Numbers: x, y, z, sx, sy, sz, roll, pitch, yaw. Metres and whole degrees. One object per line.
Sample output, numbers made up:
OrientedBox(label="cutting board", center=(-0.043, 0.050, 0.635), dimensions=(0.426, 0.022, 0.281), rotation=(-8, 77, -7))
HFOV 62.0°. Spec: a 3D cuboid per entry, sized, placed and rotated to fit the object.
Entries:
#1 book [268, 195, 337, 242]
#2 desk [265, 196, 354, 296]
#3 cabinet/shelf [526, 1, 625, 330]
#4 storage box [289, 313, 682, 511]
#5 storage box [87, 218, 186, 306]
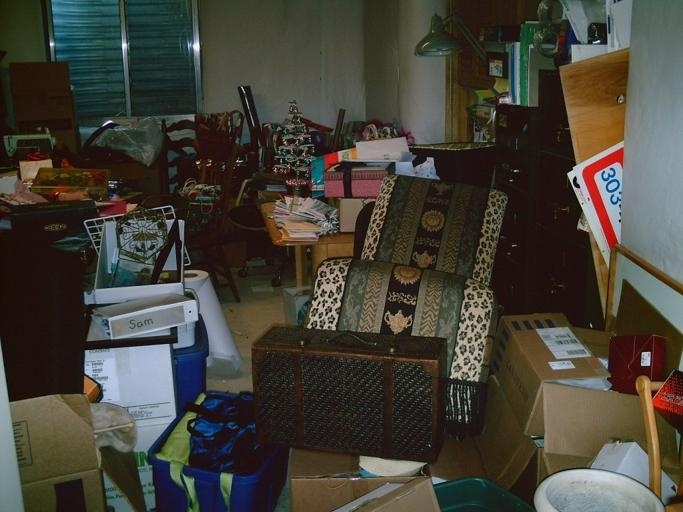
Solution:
OrientedBox(label="book", center=(-0.237, -0.233, 3.448), dimensions=(0.289, 0.094, 0.294), rotation=(17, 12, 42))
OrientedBox(label="desk", center=(-0.211, -0.080, 3.554), dimensions=(0.442, 0.397, 0.789), rotation=(-2, 25, -6))
OrientedBox(label="cabinet/shelf", center=(1.026, -0.503, 2.491), dimensions=(0.321, 1.297, 0.882), rotation=(0, 15, 19))
OrientedBox(label="storage box", center=(0.506, 0.505, 2.037), dimensions=(1.096, 0.631, 0.704), rotation=(-4, 14, 1))
OrientedBox(label="storage box", center=(-0.835, 0.063, 2.196), dimensions=(0.357, 0.365, 0.125), rotation=(-1, -18, -15))
